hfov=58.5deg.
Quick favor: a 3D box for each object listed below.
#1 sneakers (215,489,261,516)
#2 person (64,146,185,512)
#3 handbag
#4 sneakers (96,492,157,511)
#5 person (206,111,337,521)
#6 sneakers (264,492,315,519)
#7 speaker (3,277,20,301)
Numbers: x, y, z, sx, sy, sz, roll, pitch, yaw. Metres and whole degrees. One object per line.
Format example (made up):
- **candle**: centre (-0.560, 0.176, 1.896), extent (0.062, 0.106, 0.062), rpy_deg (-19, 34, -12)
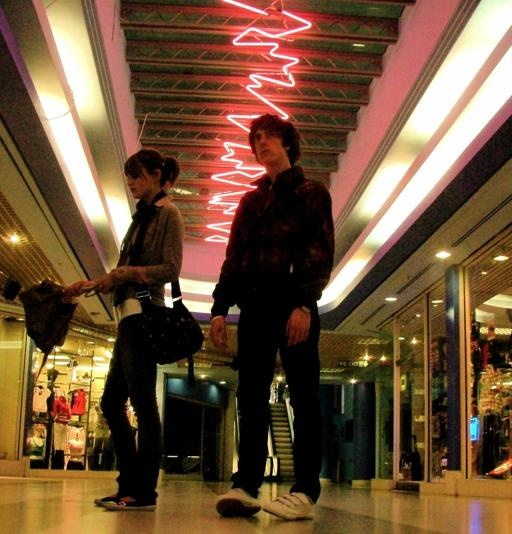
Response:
- **sneakers**: centre (-0.052, 0.752, 1.439), extent (0.094, 0.083, 0.204), rpy_deg (-5, -17, 17)
- **person**: centre (-0.567, 0.286, 1.895), extent (0.441, 1.311, 0.392), rpy_deg (6, -21, -14)
- **handbag**: centre (-0.300, 0.261, 1.947), extent (0.325, 0.279, 0.219), rpy_deg (-15, 0, -5)
- **sneakers**: centre (-0.463, 0.831, 1.600), extent (0.145, 0.035, 0.096), rpy_deg (7, -25, -3)
- **person**: centre (0.057, 0.192, 1.732), extent (0.447, 1.371, 0.391), rpy_deg (3, -20, -6)
- **sneakers**: centre (0.110, 0.748, 1.436), extent (0.184, 0.069, 0.072), rpy_deg (23, 3, -41)
- **speaker**: centre (-4.117, 0.373, 7.745), extent (0.232, 0.423, 0.837), rpy_deg (11, -20, -27)
